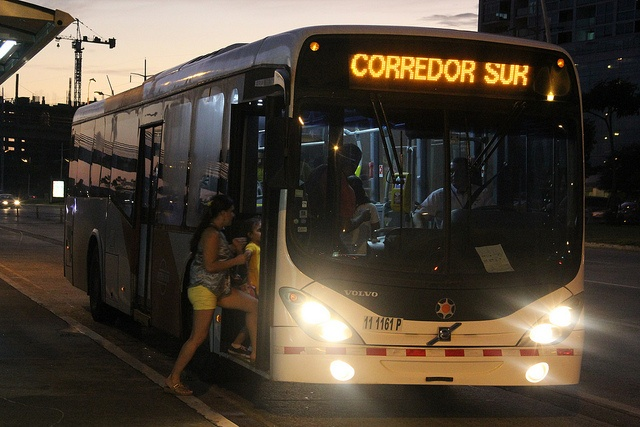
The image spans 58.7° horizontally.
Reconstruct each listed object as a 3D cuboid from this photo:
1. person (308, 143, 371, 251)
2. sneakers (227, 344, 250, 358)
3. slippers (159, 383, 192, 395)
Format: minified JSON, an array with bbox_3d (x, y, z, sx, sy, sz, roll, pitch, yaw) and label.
[{"bbox_3d":[0.240,-0.176,6.067,0.648,1.177,0.613,-13,29,-25],"label":"person"},{"bbox_3d":[-0.948,1.609,6.624,0.281,0.119,0.120,3,5,21],"label":"sneakers"},{"bbox_3d":[-1.624,2.028,6.571,0.302,0.122,0.128,0,0,23],"label":"slippers"}]
